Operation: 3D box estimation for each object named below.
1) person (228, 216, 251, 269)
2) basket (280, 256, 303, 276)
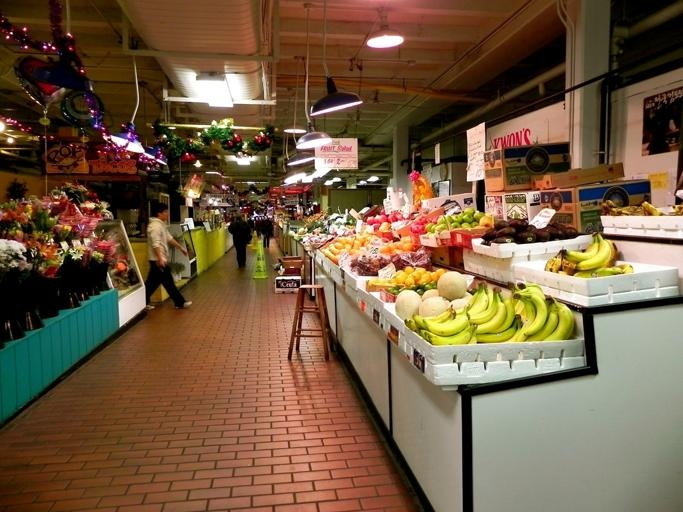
[{"bbox_3d":[-3.253,-0.520,14.380,0.628,1.649,1.085,-3,9,-13],"label":"person"},{"bbox_3d":[-1.069,0.189,9.786,0.402,0.245,0.386,0,9,-1],"label":"basket"}]
